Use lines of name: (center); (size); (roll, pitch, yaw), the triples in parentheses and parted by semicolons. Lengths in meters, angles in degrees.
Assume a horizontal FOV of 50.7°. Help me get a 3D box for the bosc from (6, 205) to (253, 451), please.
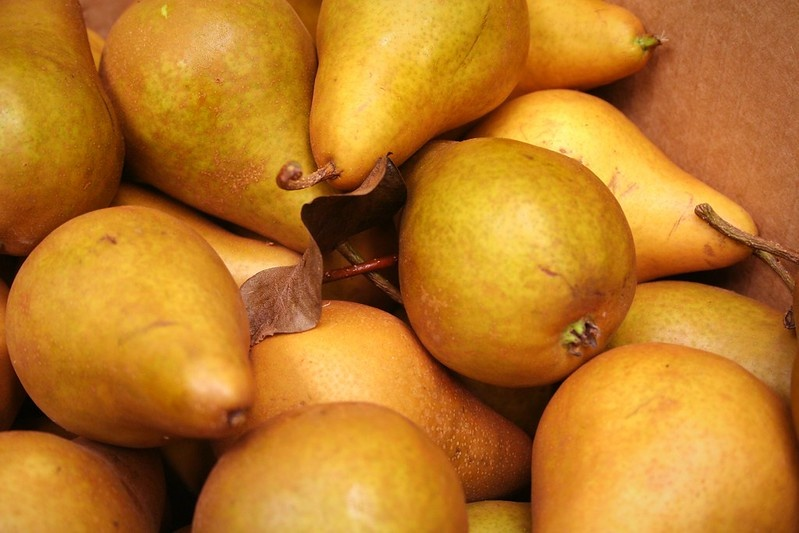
bosc: (-0.254, 0.061, 0.835); (0.257, 0.163, 0.171); (9, 44, 5)

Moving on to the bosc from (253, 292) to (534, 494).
bosc: (-0.008, 0.155, 0.995); (0.308, 0.157, 0.170); (27, 63, -17)

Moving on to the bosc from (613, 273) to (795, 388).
bosc: (0.366, 0.068, 1.004); (0.170, 0.096, 0.103); (14, -2, 32)

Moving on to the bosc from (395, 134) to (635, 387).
bosc: (0.124, 0.001, 0.907); (0.243, 0.176, 0.175); (15, 45, 11)

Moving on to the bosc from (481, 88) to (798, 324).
bosc: (0.290, -0.069, 1.117); (0.391, 0.210, 0.214); (23, 30, 10)
